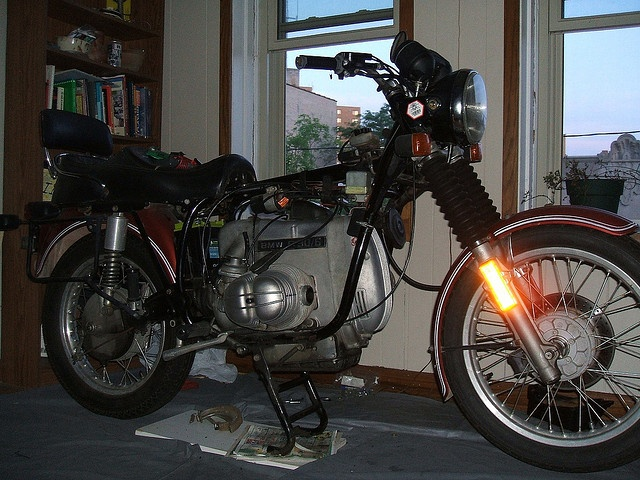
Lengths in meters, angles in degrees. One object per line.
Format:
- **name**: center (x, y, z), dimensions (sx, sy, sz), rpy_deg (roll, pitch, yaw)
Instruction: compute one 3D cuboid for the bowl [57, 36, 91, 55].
- **bowl**: center (-1.378, -1.078, 3.029), dimensions (0.141, 0.089, 0.108), rpy_deg (7, -2, 7)
